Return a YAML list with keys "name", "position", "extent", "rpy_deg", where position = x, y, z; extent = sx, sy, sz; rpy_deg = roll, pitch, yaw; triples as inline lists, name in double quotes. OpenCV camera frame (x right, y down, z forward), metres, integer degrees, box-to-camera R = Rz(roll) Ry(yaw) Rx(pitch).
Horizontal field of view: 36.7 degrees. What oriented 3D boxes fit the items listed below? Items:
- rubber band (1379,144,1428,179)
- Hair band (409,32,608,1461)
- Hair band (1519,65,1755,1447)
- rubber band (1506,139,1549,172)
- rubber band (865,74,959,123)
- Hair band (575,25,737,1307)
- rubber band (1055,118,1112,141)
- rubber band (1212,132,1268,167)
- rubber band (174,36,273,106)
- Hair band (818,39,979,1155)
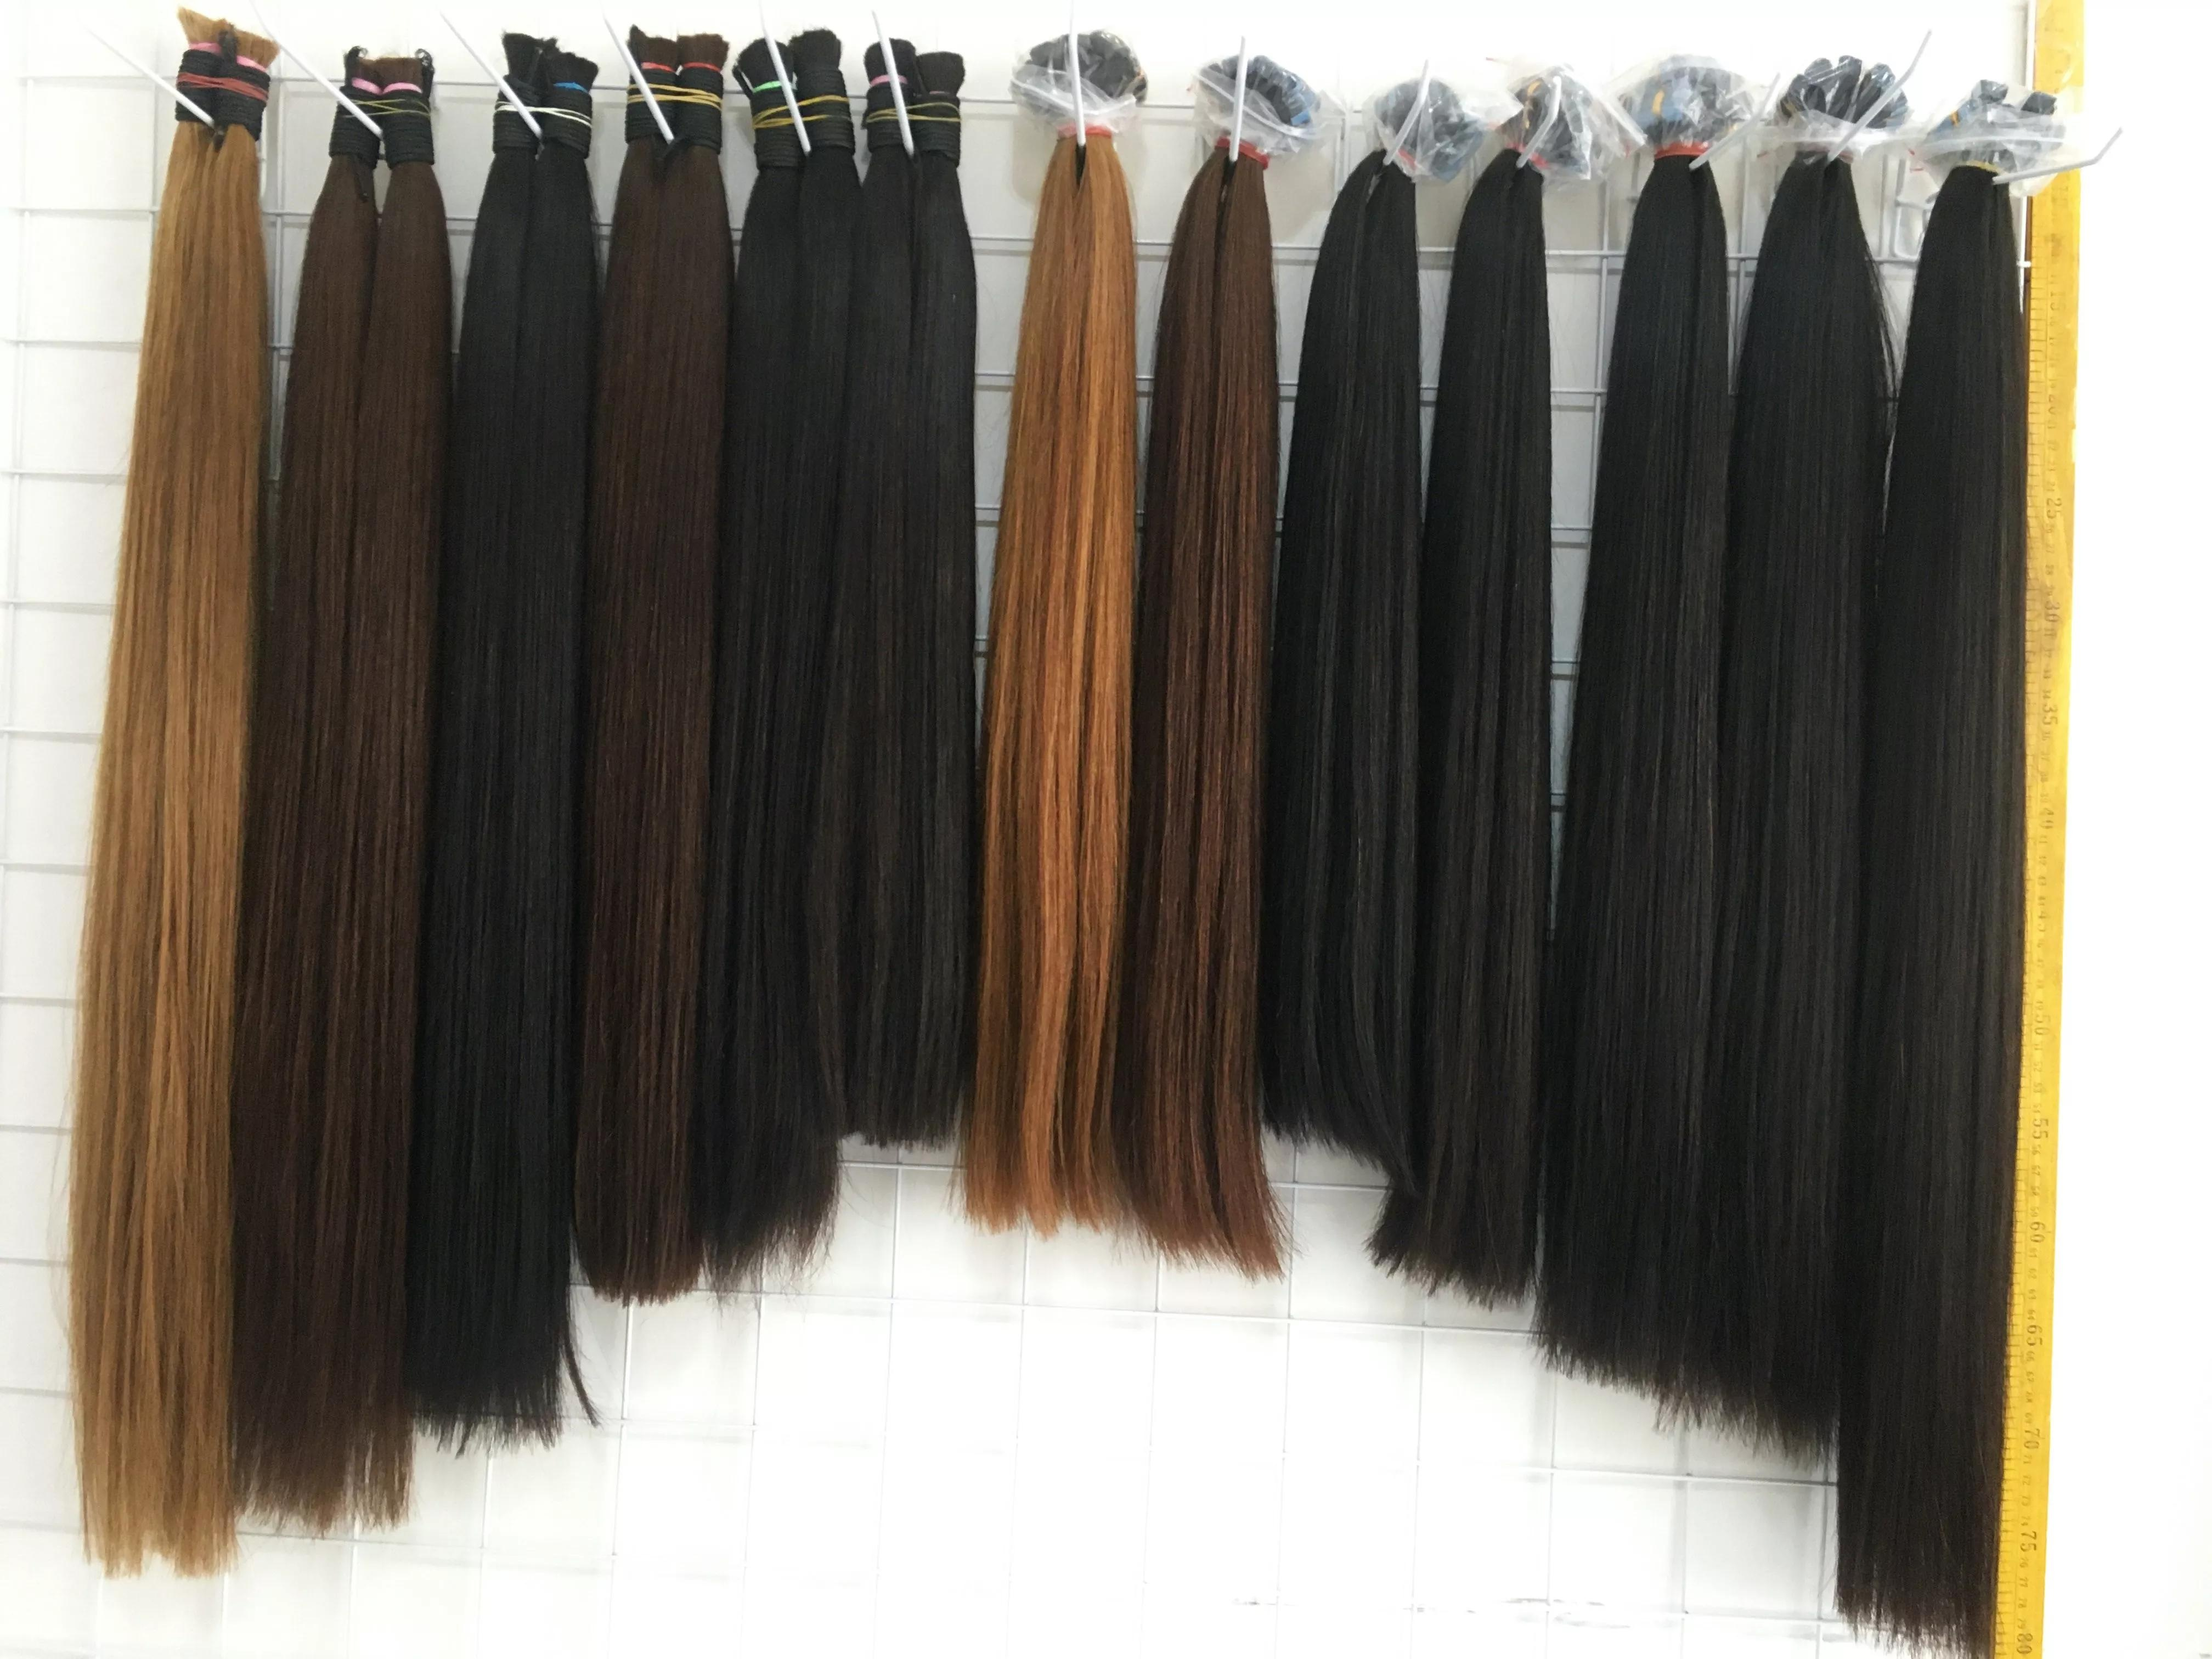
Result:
- name: "rubber band"
  position: [0.379, -0.827, 4.189]
  extent: [0.022, 0.077, 0.025]
  rpy_deg: [-5, 35, 47]
- name: "Hair band"
  position: [-0.757, -0.121, 4.191]
  extent: [0.219, 1.754, 0.088]
  rpy_deg: [0, 1, 8]
- name: "Hair band"
  position: [0.721, -0.217, 4.296]
  extent: [0.272, 1.880, 0.303]
  rpy_deg: [-3, -22, 22]
- name: "rubber band"
  position: [0.530, -0.839, 4.153]
  extent: [0.037, 0.032, 0.120]
  rpy_deg: [2, 2, -9]
- name: "rubber band"
  position: [-0.235, -0.906, 4.178]
  extent: [0.097, 0.062, 0.032]
  rpy_deg: [-2, 17, -2]
- name: "Hair band"
  position: [-0.564, -0.208, 4.180]
  extent: [0.192, 1.580, 0.089]
  rpy_deg: [0, 1, -8]
- name: "rubber band"
  position: [-0.023, -0.876, 4.189]
  extent: [0.047, 0.017, 0.034]
  rpy_deg: [1, 4, 31]
- name: "rubber band"
  position: [0.171, -0.850, 4.171]
  extent: [0.040, 0.019, 0.057]
  rpy_deg: [18, -2, 15]
- name: "rubber band"
  position: [-1.113, -0.955, 4.221]
  extent: [0.078, 0.081, 0.105]
  rpy_deg: [10, 9, -37]
- name: "Hair band"
  position: [-0.256, -0.301, 4.174]
  extent: [0.175, 1.375, 0.071]
  rpy_deg: [0, 1, -6]
